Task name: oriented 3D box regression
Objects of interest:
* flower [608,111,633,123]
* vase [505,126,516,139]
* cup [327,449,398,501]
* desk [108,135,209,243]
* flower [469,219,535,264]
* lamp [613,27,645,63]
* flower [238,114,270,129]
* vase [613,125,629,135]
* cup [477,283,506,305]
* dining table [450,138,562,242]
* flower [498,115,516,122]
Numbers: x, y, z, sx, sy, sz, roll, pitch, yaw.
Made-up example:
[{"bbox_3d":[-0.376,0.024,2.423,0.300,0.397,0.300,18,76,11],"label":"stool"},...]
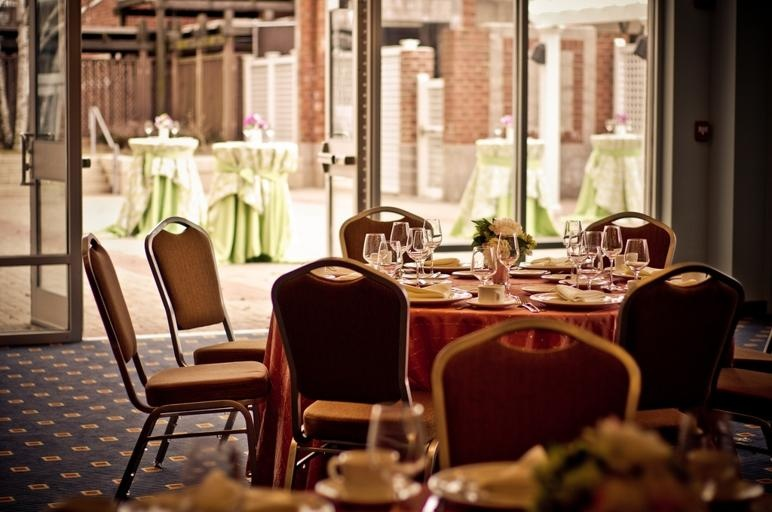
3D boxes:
[{"bbox_3d":[2.140,-1.253,6.512,0.112,0.110,0.069,-5,3,12],"label":"flower"},{"bbox_3d":[1.089,-1.065,6.197,0.109,0.127,0.108,-9,13,-44],"label":"vase"},{"bbox_3d":[-0.041,0.411,1.364,0.105,0.077,0.082,-1,0,5],"label":"cup"},{"bbox_3d":[-3.156,-0.921,9.871,1.749,1.731,1.564,0,1,-11],"label":"desk"},{"bbox_3d":[0.539,-0.034,3.320,0.225,0.092,0.229,10,30,-19],"label":"flower"},{"bbox_3d":[2.210,-1.862,6.333,0.244,0.299,0.255,-4,11,-13],"label":"lamp"},{"bbox_3d":[-1.701,-1.735,9.307,0.286,0.178,0.537,-1,10,-9],"label":"flower"},{"bbox_3d":[2.158,-1.147,6.519,0.092,0.090,0.093,0,0,43],"label":"vase"},{"bbox_3d":[0.436,0.156,2.858,0.067,0.062,0.091,-2,-3,-11],"label":"cup"},{"bbox_3d":[1.078,-0.619,6.475,0.926,0.883,0.947,1,0,3],"label":"dining table"},{"bbox_3d":[1.069,-1.197,6.247,0.074,0.061,0.102,-3,12,3],"label":"flower"}]
